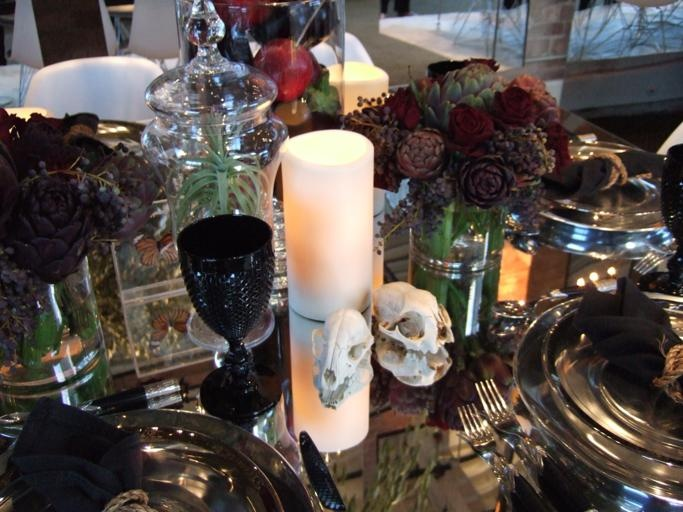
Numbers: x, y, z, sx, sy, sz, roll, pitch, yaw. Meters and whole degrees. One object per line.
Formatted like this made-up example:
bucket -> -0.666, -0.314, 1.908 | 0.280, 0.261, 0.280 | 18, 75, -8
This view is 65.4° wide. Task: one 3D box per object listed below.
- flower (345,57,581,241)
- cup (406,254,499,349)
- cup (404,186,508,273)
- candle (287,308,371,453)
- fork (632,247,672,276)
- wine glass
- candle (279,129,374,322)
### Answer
flower -> 0.199, -0.169, 0.862 | 0.336, 0.261, 0.251 | -11, 24, -25
cup -> 0.201, 0.052, 0.919 | 0.102, 0.174, 0.101 | -4, 35, 3
cup -> 0.201, -0.024, 0.946 | 0.152, 0.176, 0.153 | 2, 11, 0
candle -> 0.001, 0.134, 0.691 | 0.085, 0.137, 0.075 | 5, -9, 6
fork -> 0.525, 0.013, 0.899 | 0.093, 0.031, 0.025 | -41, 18, -30
wine glass -> -0.138, 0.080, 0.668 | 0.115, 0.237, 0.107 | -3, 22, -9
candle -> -0.013, -0.030, 0.749 | 0.120, 0.260, 0.187 | -9, 23, -21
